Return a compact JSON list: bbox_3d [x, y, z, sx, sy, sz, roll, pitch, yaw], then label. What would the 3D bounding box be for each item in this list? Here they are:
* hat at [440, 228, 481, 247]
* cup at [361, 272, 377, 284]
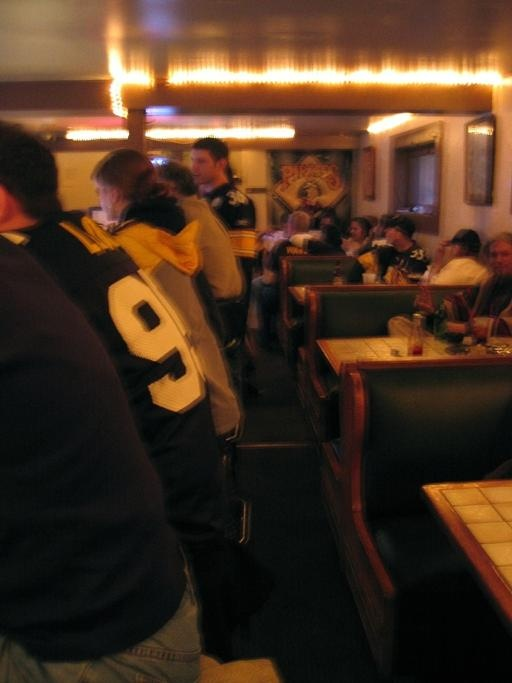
[{"bbox_3d":[1.526,-0.748,4.211,0.278,0.137,0.198,23,19,21],"label":"hat"},{"bbox_3d":[0.799,-0.435,3.958,0.125,0.082,0.110,-2,8,-13],"label":"cup"}]
